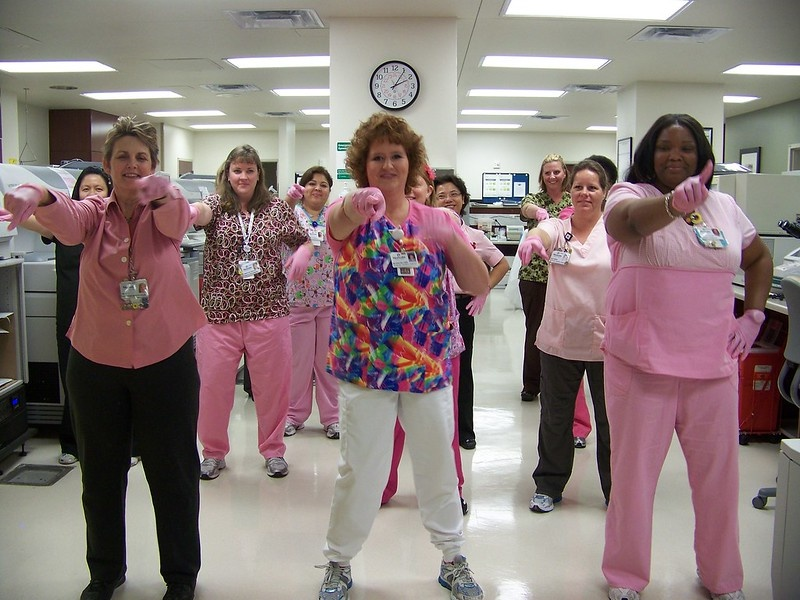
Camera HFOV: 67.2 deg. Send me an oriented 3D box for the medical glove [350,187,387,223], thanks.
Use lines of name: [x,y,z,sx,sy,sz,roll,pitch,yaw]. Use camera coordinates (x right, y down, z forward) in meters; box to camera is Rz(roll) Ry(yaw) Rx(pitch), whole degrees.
medical glove: [-0.106,-0.356,2.272,0.116,0.121,0.134,3,6,22]

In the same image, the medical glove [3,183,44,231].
medical glove: [-1.391,-0.350,2.262,0.134,0.158,0.226,-2,7,-32]

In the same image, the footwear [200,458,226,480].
footwear: [-1.084,0.990,3.577,0.106,0.116,0.259,1,-10,1]

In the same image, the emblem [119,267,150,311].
emblem: [-1.041,-0.039,2.368,0.153,0.227,0.027,-1,6,-8]

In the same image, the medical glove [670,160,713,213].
medical glove: [1.077,-0.424,2.238,0.113,0.106,0.225,-9,24,34]

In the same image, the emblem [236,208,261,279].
emblem: [-0.845,-0.303,3.411,0.125,0.375,0.170,-1,6,-15]

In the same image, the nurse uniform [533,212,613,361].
nurse uniform: [0.955,-0.102,3.206,0.507,0.829,0.311,-1,4,3]

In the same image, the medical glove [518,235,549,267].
medical glove: [0.671,-0.256,3.082,0.139,0.150,0.297,6,7,41]

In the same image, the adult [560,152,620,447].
adult: [1.264,0.090,4.270,0.451,1.856,0.429,2,-17,17]

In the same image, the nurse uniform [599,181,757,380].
nurse uniform: [1.235,-0.088,2.584,0.601,0.835,0.395,4,-3,7]

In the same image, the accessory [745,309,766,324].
accessory: [1.499,0.071,2.570,0.068,0.074,0.066,10,-5,-29]

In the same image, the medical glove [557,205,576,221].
medical glove: [0.935,-0.484,3.346,0.108,0.043,0.087,-13,6,-12]

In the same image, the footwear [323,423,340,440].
footwear: [-0.458,0.895,4.095,0.106,0.114,0.242,1,8,-5]

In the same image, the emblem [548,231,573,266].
emblem: [0.851,-0.255,3.148,0.103,0.178,0.173,17,-12,29]

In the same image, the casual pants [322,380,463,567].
casual pants: [-0.007,0.739,2.516,0.531,0.259,0.943,-7,27,7]

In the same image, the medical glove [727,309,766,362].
medical glove: [1.428,0.138,2.527,0.147,0.239,0.063,36,-31,-10]

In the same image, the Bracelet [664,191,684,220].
Bracelet: [1.000,-0.345,2.207,0.068,0.035,0.086,-1,37,3]

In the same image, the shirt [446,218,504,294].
shirt: [0.377,-0.244,3.538,0.484,0.444,0.173,-8,-19,13]

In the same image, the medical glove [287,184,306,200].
medical glove: [-0.710,-0.749,4.204,0.052,0.094,0.118,6,-12,-28]

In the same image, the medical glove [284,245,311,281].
medical glove: [-0.553,-0.210,3.320,0.138,0.203,0.285,1,6,-2]

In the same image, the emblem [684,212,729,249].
emblem: [1.213,-0.263,2.425,0.119,0.176,0.043,-38,-3,-11]

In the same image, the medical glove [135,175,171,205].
medical glove: [-0.926,-0.408,2.279,0.113,0.109,0.092,2,4,-30]

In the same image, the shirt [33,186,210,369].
shirt: [-1.101,-0.118,2.393,0.639,0.786,0.673,-1,-4,-30]

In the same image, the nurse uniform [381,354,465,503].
nurse uniform: [0.121,0.669,3.180,0.451,0.816,0.212,3,6,24]

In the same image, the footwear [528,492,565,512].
footwear: [0.741,1.076,3.178,0.066,0.080,0.191,-11,-21,27]
